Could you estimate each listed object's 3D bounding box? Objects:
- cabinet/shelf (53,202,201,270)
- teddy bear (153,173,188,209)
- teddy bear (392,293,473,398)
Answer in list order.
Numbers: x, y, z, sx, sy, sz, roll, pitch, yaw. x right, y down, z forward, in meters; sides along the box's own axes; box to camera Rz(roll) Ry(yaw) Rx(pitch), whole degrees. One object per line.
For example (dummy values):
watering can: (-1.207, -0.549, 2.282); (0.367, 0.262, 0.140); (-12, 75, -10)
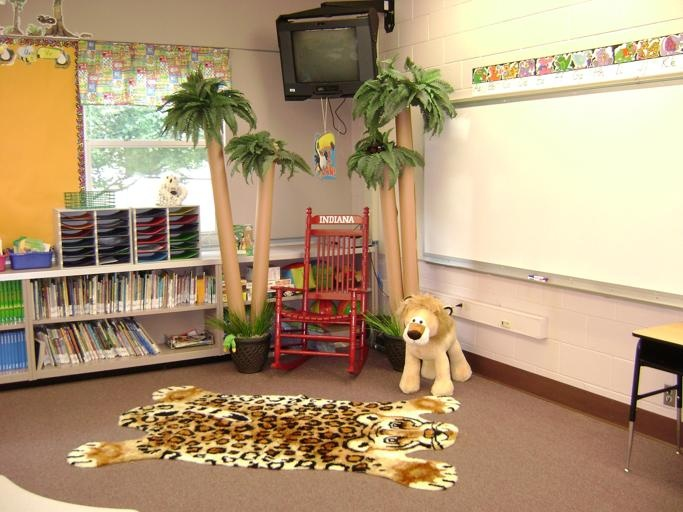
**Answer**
cabinet/shelf: (-1.947, -0.202, 4.393); (1.227, 0.523, 0.449); (-5, 8, -44)
teddy bear: (-1.575, -0.555, 4.470); (0.259, 0.307, 0.137); (8, -23, -32)
teddy bear: (0.744, 0.711, 3.993); (0.480, 0.718, 0.713); (-1, 0, 31)
